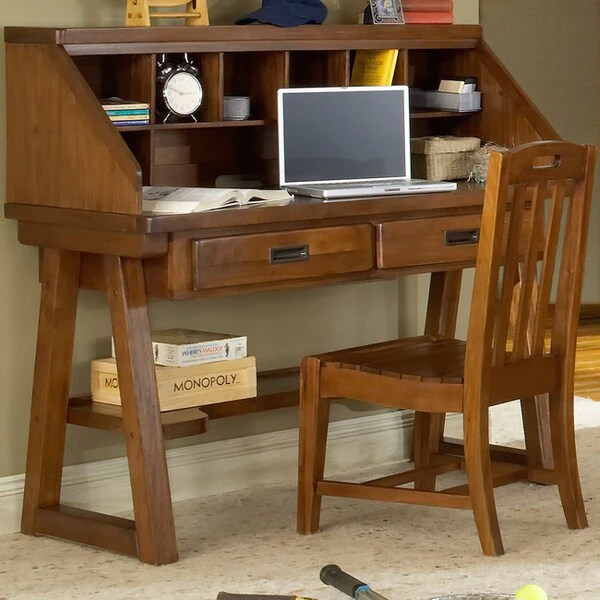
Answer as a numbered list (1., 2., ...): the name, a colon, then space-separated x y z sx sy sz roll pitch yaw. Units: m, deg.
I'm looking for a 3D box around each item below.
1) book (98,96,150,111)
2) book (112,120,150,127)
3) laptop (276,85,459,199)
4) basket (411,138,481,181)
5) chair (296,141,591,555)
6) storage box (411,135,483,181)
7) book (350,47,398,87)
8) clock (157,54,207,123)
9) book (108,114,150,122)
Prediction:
1. book: -0.471 -0.518 1.715 0.129 0.025 0.123 5 10 29
2. book: -0.442 -0.466 1.709 0.052 0.009 0.048 1 5 17
3. laptop: 0.192 -0.483 2.010 0.538 0.302 0.298 -7 11 -33
4. basket: 0.492 -0.501 2.301 0.224 0.130 0.150 -11 20 -32
5. chair: 0.455 0.129 1.834 0.746 1.019 0.820 -2 -3 43
6. storage box: 0.501 -0.500 2.304 0.216 0.115 0.153 -9 17 -21
7. book: 0.257 -0.778 2.205 0.169 0.144 0.041 17 14 39
8. clock: -0.329 -0.622 1.872 0.145 0.171 0.081 5 40 22
9. book: -0.444 -0.478 1.705 0.055 0.011 0.052 2 6 26
